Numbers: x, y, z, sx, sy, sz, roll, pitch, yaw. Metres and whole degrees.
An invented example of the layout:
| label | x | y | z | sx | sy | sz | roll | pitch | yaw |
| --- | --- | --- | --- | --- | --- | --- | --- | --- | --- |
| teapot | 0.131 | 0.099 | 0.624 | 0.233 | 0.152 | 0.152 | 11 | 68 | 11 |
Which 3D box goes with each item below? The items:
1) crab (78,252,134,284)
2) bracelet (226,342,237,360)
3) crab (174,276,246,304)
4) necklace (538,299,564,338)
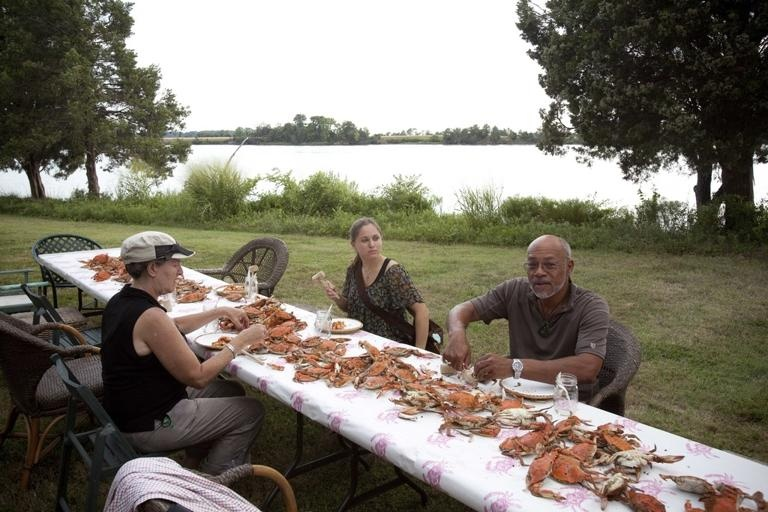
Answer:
| label | x | y | z | sx | sy | sz | roll | pitch | yaw |
| --- | --- | --- | --- | --- | --- | --- | --- | --- | --- |
| crab | -3.282 | 0.157 | 6.120 | 0.391 | 0.072 | 0.330 | 31 | 23 | 33 |
| bracelet | -1.251 | 0.789 | 4.292 | 0.040 | 0.107 | 0.097 | -28 | -10 | -18 |
| crab | -2.070 | 0.386 | 5.811 | 0.377 | 0.104 | 0.464 | -1 | 8 | -20 |
| necklace | 1.454 | 0.550 | 4.579 | 0.178 | 0.316 | 0.334 | 9 | -17 | 38 |
